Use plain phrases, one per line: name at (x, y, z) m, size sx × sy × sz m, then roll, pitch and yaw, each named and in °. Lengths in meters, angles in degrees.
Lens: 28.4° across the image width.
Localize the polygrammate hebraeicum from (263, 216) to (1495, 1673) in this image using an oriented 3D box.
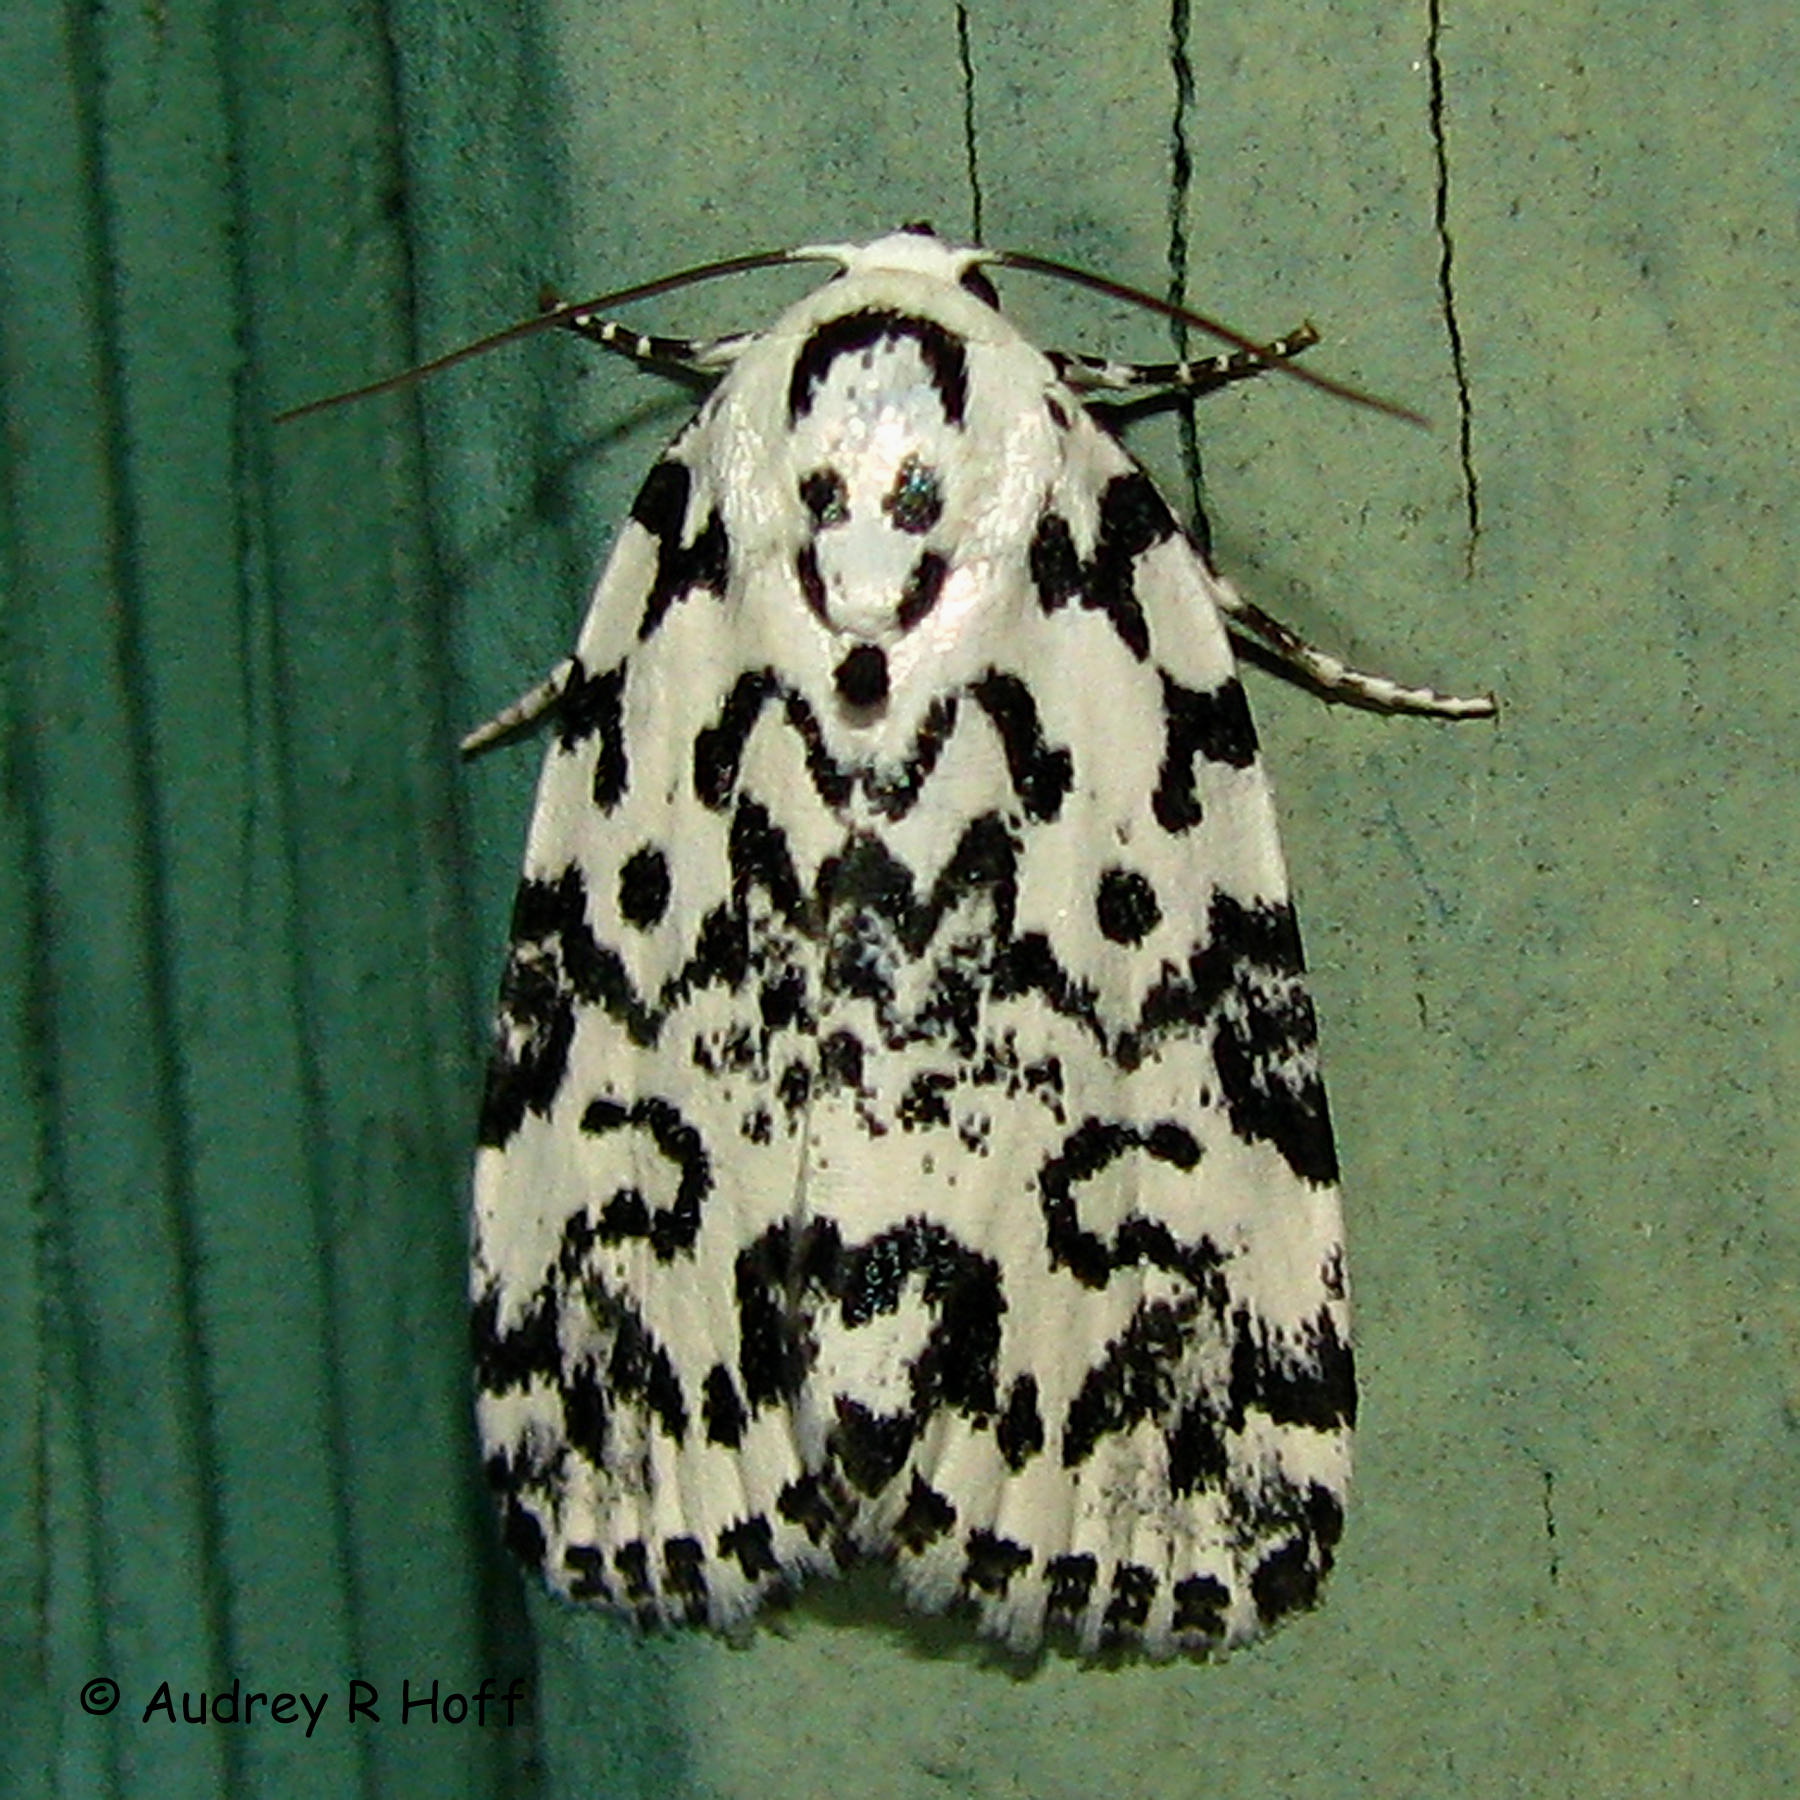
polygrammate hebraeicum at (0.021, 0.061, 2.215) m, size 0.612 × 0.837 × 0.280 m, roll -2°, pitch -4°, yaw 6°
